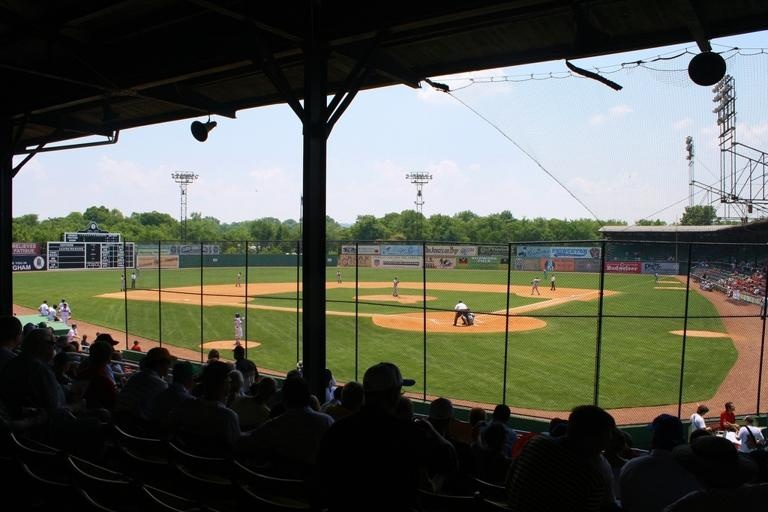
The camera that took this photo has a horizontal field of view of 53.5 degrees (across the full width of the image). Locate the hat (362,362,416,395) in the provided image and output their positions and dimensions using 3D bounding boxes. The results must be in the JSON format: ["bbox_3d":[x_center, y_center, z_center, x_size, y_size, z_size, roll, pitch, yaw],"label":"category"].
[{"bbox_3d":[0.035,1.816,11.332,0.613,0.284,0.383,-7,8,-40],"label":"hat"}]
